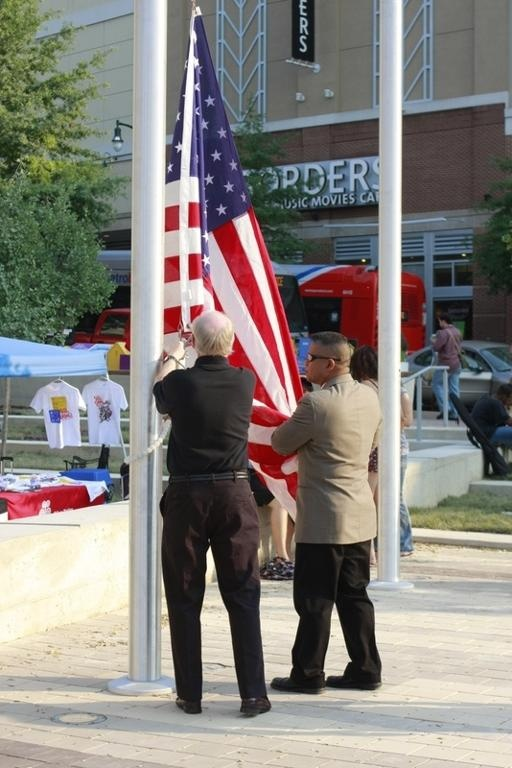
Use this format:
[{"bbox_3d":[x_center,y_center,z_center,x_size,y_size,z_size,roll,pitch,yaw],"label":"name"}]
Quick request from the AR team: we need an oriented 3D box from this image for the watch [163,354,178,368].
[{"bbox_3d":[-0.469,-0.140,8.028,0.078,0.055,0.074,16,1,-16],"label":"watch"}]

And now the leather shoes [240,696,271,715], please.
[{"bbox_3d":[-0.007,1.642,7.498,0.062,0.085,0.176,0,3,30],"label":"leather shoes"}]

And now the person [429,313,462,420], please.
[{"bbox_3d":[2.745,-0.230,21.222,0.433,1.588,1.516,1,4,8],"label":"person"}]

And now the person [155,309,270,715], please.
[{"bbox_3d":[-0.233,0.658,7.579,0.598,2.068,0.380,0,4,-6],"label":"person"}]

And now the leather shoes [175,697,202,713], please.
[{"bbox_3d":[-0.346,1.664,7.602,0.055,0.065,0.142,-1,6,-33],"label":"leather shoes"}]

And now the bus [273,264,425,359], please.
[{"bbox_3d":[1.900,-1.589,31.570,4.052,1.975,1.618,7,6,32],"label":"bus"}]

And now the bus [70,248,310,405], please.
[{"bbox_3d":[-1.479,-1.782,34.069,6.449,3.725,2.659,0,2,6],"label":"bus"}]

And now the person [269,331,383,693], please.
[{"bbox_3d":[0.388,0.690,7.952,0.638,1.936,0.362,0,4,-10],"label":"person"}]
